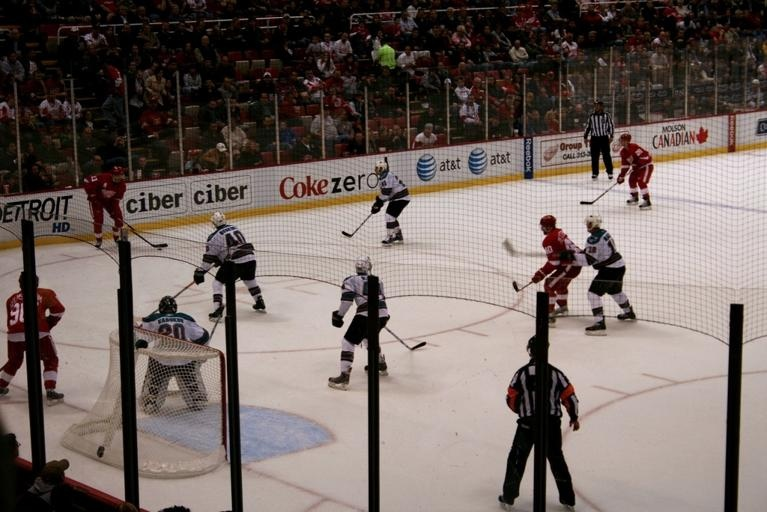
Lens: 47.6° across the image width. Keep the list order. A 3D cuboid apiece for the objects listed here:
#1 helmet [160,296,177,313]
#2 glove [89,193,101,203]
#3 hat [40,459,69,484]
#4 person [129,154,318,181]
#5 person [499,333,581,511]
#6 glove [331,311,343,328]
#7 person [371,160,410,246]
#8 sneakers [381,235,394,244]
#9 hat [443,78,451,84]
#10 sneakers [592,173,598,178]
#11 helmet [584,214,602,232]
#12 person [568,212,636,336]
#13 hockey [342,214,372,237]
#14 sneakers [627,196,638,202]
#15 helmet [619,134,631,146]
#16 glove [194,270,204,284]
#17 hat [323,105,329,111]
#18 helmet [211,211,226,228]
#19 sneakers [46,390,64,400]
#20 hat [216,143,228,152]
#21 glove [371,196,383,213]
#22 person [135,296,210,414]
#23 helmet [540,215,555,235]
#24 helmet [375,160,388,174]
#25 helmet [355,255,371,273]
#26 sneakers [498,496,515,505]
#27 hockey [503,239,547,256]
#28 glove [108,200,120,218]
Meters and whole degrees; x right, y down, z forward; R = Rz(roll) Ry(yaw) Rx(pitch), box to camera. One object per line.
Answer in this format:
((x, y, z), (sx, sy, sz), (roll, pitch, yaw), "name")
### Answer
((-2.797, 0.645, 11.298), (0.211, 0.228, 0.225), (4, -8, -8), "helmet")
((-5.429, -1.065, 16.337), (0.155, 0.035, 0.155), (-26, -39, 29), "glove")
((-3.379, 2.234, 8.964), (0.252, 0.257, 0.256), (3, 8, 44), "hat")
((-3.521, -1.918, 18.258), (3.536, 0.573, 0.332), (-6, 7, -31), "person")
((1.692, 1.748, 9.203), (0.868, 1.992, 1.096), (-4, 6, -9), "person")
((-0.619, 0.880, 12.004), (0.226, 0.204, 0.174), (2, 7, -29), "glove")
((0.112, -1.030, 17.240), (0.480, 1.636, 0.980), (2, 8, 37), "person")
((0.115, -0.305, 17.315), (0.290, 0.166, 0.217), (-4, 6, -14), "sneakers")
((1.466, -3.980, 19.943), (0.138, 0.129, 0.144), (-3, -6, 9), "hat")
((5.151, -1.921, 21.224), (0.090, 0.099, 0.111), (5, 19, 7), "sneakers")
((3.159, -0.486, 13.236), (0.320, 0.296, 0.241), (6, 11, 27), "helmet")
((3.342, 0.271, 13.107), (0.726, 1.726, 1.255), (0, 7, 25), "person")
((-0.518, -0.525, 17.507), (0.542, 0.148, 0.525), (-47, 8, -16), "hockey")
((5.537, -1.225, 19.319), (0.215, 0.128, 0.094), (3, 12, 3), "sneakers")
((5.152, -2.472, 18.516), (0.211, 0.244, 0.520), (-1, 6, 12), "helmet")
((-2.831, 0.324, 13.240), (0.184, 0.175, 0.215), (1, 3, -1), "glove")
((-1.250, -3.217, 19.006), (0.139, 0.115, 0.032), (1, 8, -21), "hat")
((-2.550, -0.559, 13.572), (0.214, 0.231, 0.267), (-15, 29, -36), "helmet")
((-4.232, 1.781, 11.297), (0.233, 0.142, 0.114), (-4, 19, -11), "sneakers")
((-3.384, -2.257, 18.248), (0.161, 0.097, 0.199), (10, -4, -27), "hat")
((-0.114, -0.981, 17.104), (0.249, 0.320, 0.574), (-3, 6, -1), "glove")
((-2.627, 1.268, 10.865), (0.889, 1.484, 0.808), (4, -25, -23), "person")
((2.541, -0.477, 13.266), (0.288, 0.267, 0.220), (5, 15, 23), "helmet")
((-0.074, -1.725, 17.118), (0.274, 0.250, 0.232), (17, 22, 39), "helmet")
((-0.285, 0.108, 11.817), (0.180, 0.232, 0.232), (5, -19, 15), "helmet")
((1.325, 2.647, 9.463), (0.071, 0.081, 0.201), (-7, 4, -33), "sneakers")
((2.598, -0.136, 15.964), (0.899, 0.087, 0.298), (6, 48, 27), "hockey")
((-5.101, -0.880, 16.492), (0.211, 0.173, 0.554), (16, 8, -33), "glove")
